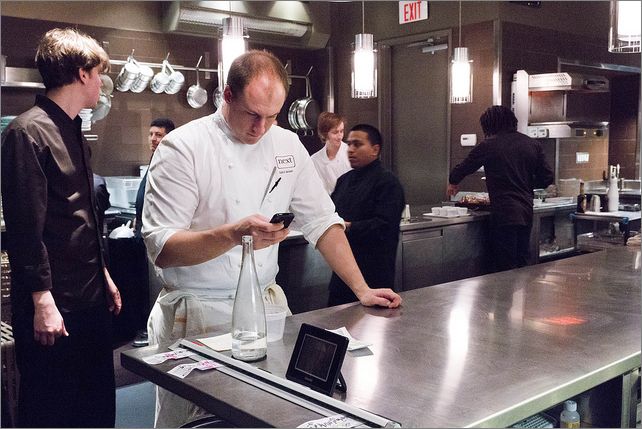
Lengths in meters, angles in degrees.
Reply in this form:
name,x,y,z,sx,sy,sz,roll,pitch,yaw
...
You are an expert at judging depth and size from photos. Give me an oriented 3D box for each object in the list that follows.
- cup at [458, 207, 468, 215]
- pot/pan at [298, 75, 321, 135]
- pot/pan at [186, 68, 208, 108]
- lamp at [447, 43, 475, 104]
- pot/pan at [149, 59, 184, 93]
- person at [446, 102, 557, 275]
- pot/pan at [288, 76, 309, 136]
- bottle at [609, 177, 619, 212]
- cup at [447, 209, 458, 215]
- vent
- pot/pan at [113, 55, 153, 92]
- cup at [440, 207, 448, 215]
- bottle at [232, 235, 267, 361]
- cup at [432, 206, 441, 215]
name,x,y,z,sx,sy,sz,roll,pitch,yaw
cup,1.428,-0.041,4.875,0.090,0.062,0.085,0,-4,0
pot/pan,-0.178,-1.607,7.063,0.122,0.754,0.499,-8,-9,35
pot/pan,-1.561,-1.620,6.177,0.073,0.450,0.287,-6,-8,42
lamp,1.519,-1.502,5.155,0.303,0.552,0.173,-8,12,-31
pot/pan,-1.898,-1.636,5.953,0.325,0.466,0.170,13,-41,-32
person,1.875,-0.084,5.055,1.047,2.037,0.712,-3,12,-3
pot/pan,-0.319,-1.466,7.024,0.077,0.490,0.327,1,4,41
bottle,3.122,-0.217,5.154,0.089,0.328,0.262,4,12,30
cup,1.294,-0.031,4.734,0.073,0.046,0.069,-1,-3,0
vent,2.993,-1.333,6.015,1.131,0.777,0.790,-9,11,-38
pot/pan,-2.206,-1.645,5.691,0.329,0.233,0.515,6,39,-39
cup,1.219,-0.041,4.780,0.073,0.067,0.070,-1,11,0
bottle,-0.235,0.266,1.544,0.117,0.402,0.107,-2,10,0
cup,1.168,-0.038,4.871,0.082,0.062,0.064,2,-4,19
